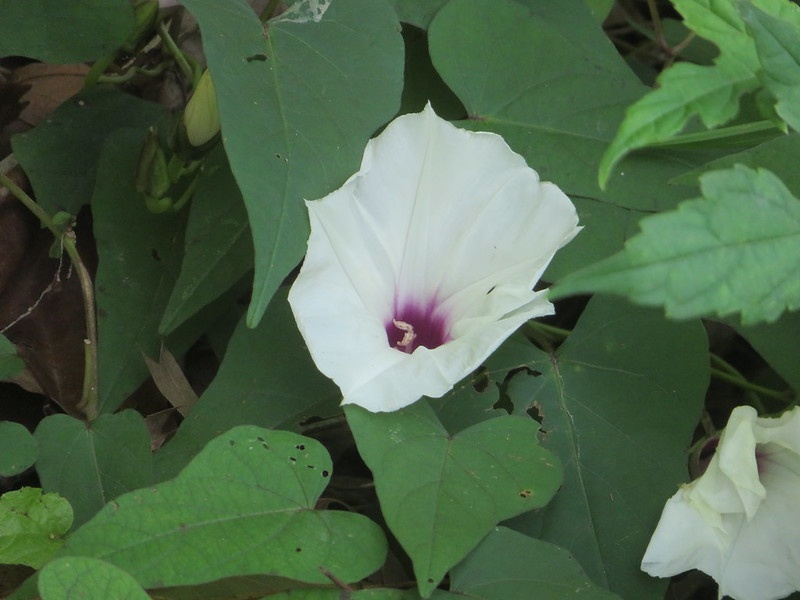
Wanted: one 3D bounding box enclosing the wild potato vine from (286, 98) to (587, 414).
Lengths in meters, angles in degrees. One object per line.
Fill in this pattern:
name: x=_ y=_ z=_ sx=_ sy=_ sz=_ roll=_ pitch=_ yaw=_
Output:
wild potato vine: x=0.049 y=0.001 z=1.167 sx=0.333 sy=0.207 sz=0.362 roll=-33 pitch=73 yaw=-11
